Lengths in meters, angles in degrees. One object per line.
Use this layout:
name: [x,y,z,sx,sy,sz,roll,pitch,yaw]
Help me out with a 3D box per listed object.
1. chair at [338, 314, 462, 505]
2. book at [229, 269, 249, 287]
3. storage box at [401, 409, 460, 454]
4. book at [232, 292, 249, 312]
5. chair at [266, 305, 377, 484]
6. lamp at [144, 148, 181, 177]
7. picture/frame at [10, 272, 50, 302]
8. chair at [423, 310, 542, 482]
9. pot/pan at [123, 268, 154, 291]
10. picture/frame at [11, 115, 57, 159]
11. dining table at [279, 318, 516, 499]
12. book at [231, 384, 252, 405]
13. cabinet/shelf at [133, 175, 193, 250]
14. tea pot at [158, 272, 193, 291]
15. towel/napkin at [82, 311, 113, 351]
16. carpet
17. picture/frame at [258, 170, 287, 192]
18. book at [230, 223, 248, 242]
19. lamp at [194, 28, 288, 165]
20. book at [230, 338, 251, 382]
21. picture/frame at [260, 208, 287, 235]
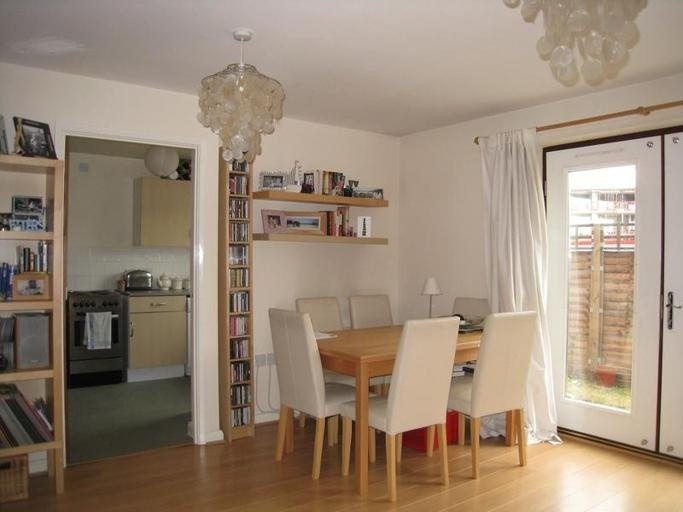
chair: [0.520,1.075,3.869,0.613,1.261,0.304,-2,4,-27]
book: [-0.918,0.198,4.739,0.139,0.194,0.193,0,0,-15]
storage box: [0.781,1.497,4.690,0.384,0.249,0.383,2,-4,-33]
book: [-0.922,0.397,4.773,0.143,0.192,0.192,-1,3,-32]
chair: [-0.163,1.101,4.311,0.811,1.224,0.732,3,-2,-21]
lamp: [-2.116,-1.103,6.250,0.342,0.344,0.325,0,8,-25]
picture/frame: [-2.250,0.226,3.804,0.197,0.183,0.070,-1,-8,-13]
chair: [1.127,1.076,4.334,0.689,1.181,0.803,1,-1,-21]
pot/pan: [-2.619,0.213,6.787,0.407,0.363,0.232,-1,6,-26]
picture/frame: [-2.194,-0.839,3.767,0.255,0.281,0.120,-2,4,-32]
dining table: [0.322,1.373,4.193,1.636,1.263,1.180,0,-1,-36]
book: [-0.890,1.236,4.768,0.152,0.211,0.214,-2,-7,9]
cabinet/shelf: [-2.323,-0.570,6.953,0.621,0.855,0.406,1,3,-22]
tea pot: [-2.170,0.331,6.808,0.261,0.214,0.435,1,2,36]
towel/napkin: [-2.909,0.899,6.292,0.318,0.471,0.089,-1,4,-27]
carpet: [-2.105,1.589,5.426,1.272,0.089,2.156,-1,4,-28]
picture/frame: [-0.677,-0.722,5.108,0.238,0.189,0.013,1,-12,-11]
book: [-0.956,-0.199,4.825,0.138,0.196,0.196,0,3,-29]
lamp: [-0.634,-0.920,3.348,0.538,0.625,0.247,-1,4,-16]
book: [-0.914,0.933,4.729,0.175,0.376,0.080,-1,4,-21]
picture/frame: [-0.663,-0.331,5.127,0.247,0.255,0.024,9,-19,-39]
